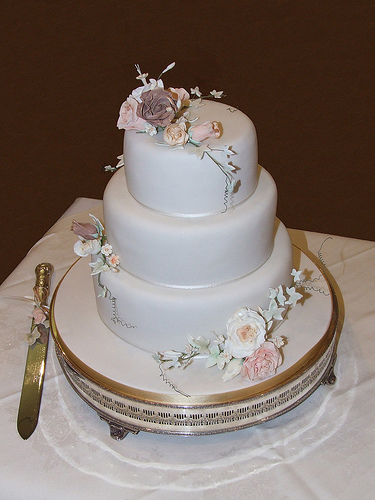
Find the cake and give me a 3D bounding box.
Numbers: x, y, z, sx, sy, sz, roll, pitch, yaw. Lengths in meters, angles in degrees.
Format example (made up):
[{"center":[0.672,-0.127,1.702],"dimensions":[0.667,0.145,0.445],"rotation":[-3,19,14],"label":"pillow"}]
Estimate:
[{"center":[0.031,-0.089,1.428],"dimensions":[0.580,0.797,0.656],"rotation":[-27,40,-31],"label":"cake"}]
